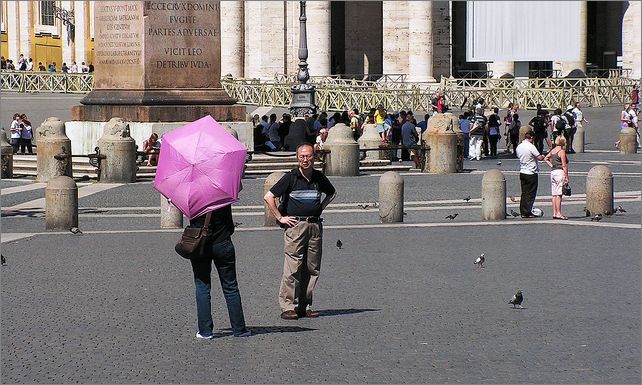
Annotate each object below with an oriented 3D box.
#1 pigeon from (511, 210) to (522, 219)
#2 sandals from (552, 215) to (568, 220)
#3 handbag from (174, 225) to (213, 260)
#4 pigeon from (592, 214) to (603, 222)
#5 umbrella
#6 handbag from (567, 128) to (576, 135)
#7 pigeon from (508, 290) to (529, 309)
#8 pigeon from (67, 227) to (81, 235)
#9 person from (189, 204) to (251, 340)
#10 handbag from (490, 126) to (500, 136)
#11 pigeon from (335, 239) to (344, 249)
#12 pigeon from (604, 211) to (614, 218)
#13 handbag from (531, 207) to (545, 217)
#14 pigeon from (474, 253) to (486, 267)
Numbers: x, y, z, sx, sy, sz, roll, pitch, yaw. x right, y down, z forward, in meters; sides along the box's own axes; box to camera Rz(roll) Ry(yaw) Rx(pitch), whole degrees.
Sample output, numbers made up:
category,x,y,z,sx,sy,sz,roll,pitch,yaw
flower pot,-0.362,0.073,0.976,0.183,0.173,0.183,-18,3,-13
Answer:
category,x,y,z,sx,sy,sz,roll,pitch,yaw
pigeon,4.471,0.503,23.135,0.186,0.106,0.163,-5,-13,31
sandals,5.438,0.561,22.678,0.241,0.078,0.127,0,8,-8
handbag,-1.967,0.766,15.260,0.287,0.462,0.502,27,-19,-39
pigeon,6.219,0.569,22.596,0.148,0.154,0.415,1,-2,13
umbrella,-1.835,-0.395,15.275,1.450,1.410,0.519,11,-10,10
handbag,9.444,-2.291,37.774,0.287,0.344,0.480,11,9,30
pigeon,3.216,1.694,16.497,0.245,0.330,0.521,2,14,11
pigeon,-5.239,0.810,21.122,0.356,0.107,0.144,1,51,-5
person,-1.565,1.214,15.292,0.810,1.990,0.497,-4,15,-13
handbag,6.360,-2.244,36.854,0.284,0.243,0.271,0,9,9
pigeon,0.352,1.028,19.661,0.163,0.176,0.143,1,0,-1
pigeon,6.598,0.498,23.001,0.119,0.081,0.280,-13,7,-1
handbag,5.014,0.455,23.189,0.258,0.084,0.196,11,13,12
pigeon,2.933,1.204,18.536,0.197,0.284,0.633,2,14,9
